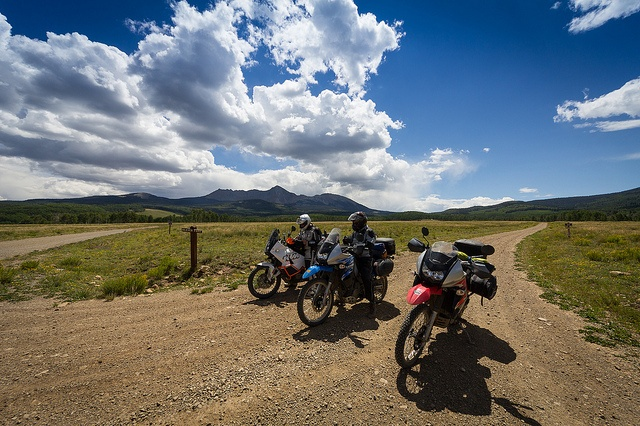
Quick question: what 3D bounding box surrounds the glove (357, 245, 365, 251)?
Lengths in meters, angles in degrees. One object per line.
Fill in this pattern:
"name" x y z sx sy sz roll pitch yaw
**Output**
"glove" 1.488 1.300 12.871 0.194 0.179 0.047 0 -4 38
